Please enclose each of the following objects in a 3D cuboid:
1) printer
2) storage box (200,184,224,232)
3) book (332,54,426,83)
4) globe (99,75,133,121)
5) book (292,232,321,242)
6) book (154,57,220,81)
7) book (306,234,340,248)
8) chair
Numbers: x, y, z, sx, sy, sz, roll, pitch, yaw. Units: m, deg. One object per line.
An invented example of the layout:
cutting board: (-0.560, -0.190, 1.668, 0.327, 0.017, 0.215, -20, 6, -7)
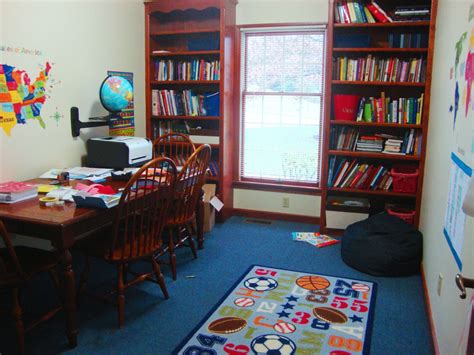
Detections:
printer: (-1.184, -0.255, 3.600, 0.556, 0.231, 0.546, 11, 15, 34)
storage box: (-0.304, 0.357, 4.147, 0.213, 0.350, 0.313, 22, -24, -14)
book: (1.455, -1.116, 3.677, 0.898, 0.272, 0.063, 3, 17, 15)
globe: (-1.261, -0.827, 3.704, 0.304, 0.465, 0.408, 20, 20, 23)
book: (0.767, 0.653, 3.930, 0.266, 0.023, 0.136, -2, 11, 2)
book: (-0.597, -1.270, 4.219, 0.900, 0.270, 0.241, 6, 17, 26)
book: (0.906, 0.673, 3.861, 0.332, 0.020, 0.279, -9, 16, -28)
chair: (-1.026, 0.521, 2.709, 0.635, 0.696, 1.557, 4, 13, 17)
